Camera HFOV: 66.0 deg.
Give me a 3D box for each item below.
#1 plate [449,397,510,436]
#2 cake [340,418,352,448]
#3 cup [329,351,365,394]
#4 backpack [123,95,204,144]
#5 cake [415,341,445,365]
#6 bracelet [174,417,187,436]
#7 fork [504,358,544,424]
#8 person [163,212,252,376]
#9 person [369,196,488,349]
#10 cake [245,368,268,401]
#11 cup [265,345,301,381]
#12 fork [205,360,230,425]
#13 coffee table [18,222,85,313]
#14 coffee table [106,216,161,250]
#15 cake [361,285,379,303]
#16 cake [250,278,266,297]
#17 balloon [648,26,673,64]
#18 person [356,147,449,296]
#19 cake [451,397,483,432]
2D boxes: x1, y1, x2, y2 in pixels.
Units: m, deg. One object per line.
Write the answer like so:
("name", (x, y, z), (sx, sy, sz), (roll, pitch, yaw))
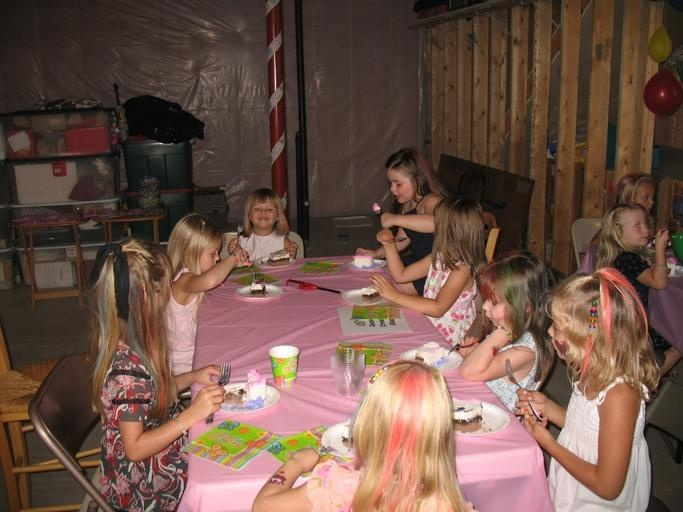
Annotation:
("plate", (0.564, 0.613, 2.042), (0.122, 0.016, 0.128), (10, 25, 28))
("cake", (0.022, 0.639, 1.903), (0.055, 0.097, 0.092), (1, -1, -2))
("cup", (0.018, 0.464, 2.211), (0.142, 0.196, 0.160), (-1, 1, -5))
("backpack", (-2.327, -1.824, 6.992), (0.784, 0.404, 1.019), (6, -7, 31))
("cake", (0.395, 0.426, 2.341), (0.081, 0.043, 0.118), (-2, 19, 6))
("bracelet", (-0.617, 0.638, 2.022), (0.042, 0.064, 0.019), (-19, 0, 35))
("fork", (0.779, 0.563, 2.261), (0.055, 0.319, 0.041), (-30, -4, -26))
("person", (-0.752, 0.229, 2.964), (0.345, 1.140, 0.539), (-6, 27, -22))
("person", (0.494, 0.285, 3.226), (0.604, 1.257, 0.596), (5, 20, 2))
("cake", (-0.343, 0.516, 2.190), (0.094, 0.142, 0.102), (-1, 6, -10))
("cup", (-0.250, 0.477, 2.316), (0.145, 0.139, 0.162), (1, 4, 11))
("fork", (-0.506, 0.550, 2.166), (0.036, 0.258, 0.037), (4, -15, 12))
("coffee table", (-3.364, 0.068, 6.229), (0.672, 1.123, 0.726), (-4, 5, -34))
("coffee table", (-1.982, -0.256, 5.035), (0.492, 0.408, 0.534), (-1, 3, -9))
("cake", (0.173, 0.223, 3.099), (0.070, 0.035, 0.097), (-11, 20, -2))
("cake", (-0.521, 0.188, 3.258), (0.069, 0.114, 0.057), (2, -2, 1))
("balloon", (2.863, -1.919, 4.746), (0.178, 0.336, 0.277), (1, 9, 31))
("person", (0.488, -0.069, 3.869), (0.660, 1.382, 0.566), (-3, 3, -21))
("cake", (0.473, 0.596, 2.020), (0.137, 0.057, 0.140), (-10, 6, -28))
